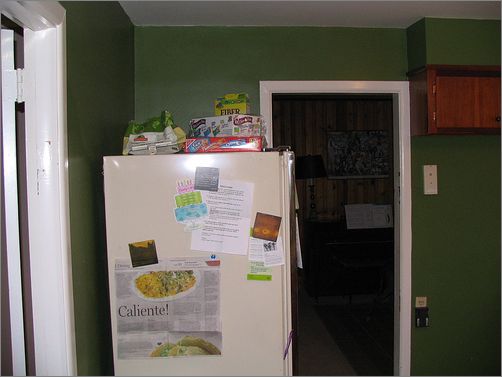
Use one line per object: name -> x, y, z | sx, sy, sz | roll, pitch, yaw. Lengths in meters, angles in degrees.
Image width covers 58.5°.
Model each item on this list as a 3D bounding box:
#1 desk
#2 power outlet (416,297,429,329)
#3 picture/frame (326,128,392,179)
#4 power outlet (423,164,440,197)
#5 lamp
desk -> 1.165, 0.835, 5.361 | 1.141, 1.074, 0.777 | 0, 5, 0
power outlet -> 1.303, 0.938, 3.388 | 0.105, 0.212, 0.033 | 2, -4, -13
picture/frame -> 1.417, -0.471, 5.904 | 0.815, 0.678, 0.016 | 0, -14, 11
power outlet -> 1.372, -0.070, 3.395 | 0.119, 0.224, 0.035 | -3, 2, -12
lamp -> 0.737, -0.004, 5.472 | 0.350, 0.804, 0.745 | -2, 3, 6
